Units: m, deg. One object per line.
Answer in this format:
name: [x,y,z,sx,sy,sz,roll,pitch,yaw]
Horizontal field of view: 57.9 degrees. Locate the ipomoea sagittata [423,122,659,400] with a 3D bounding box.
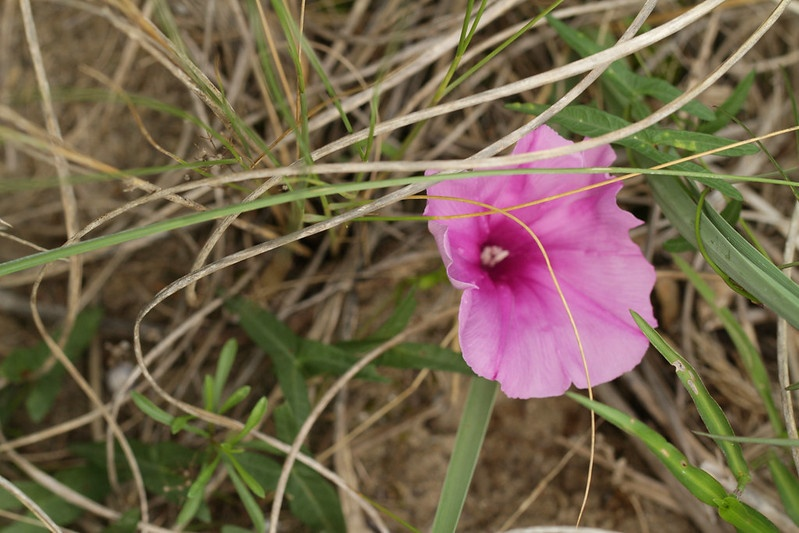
ipomoea sagittata: [0.445,-0.167,1.983,0.655,0.714,0.438,-28,91,27]
